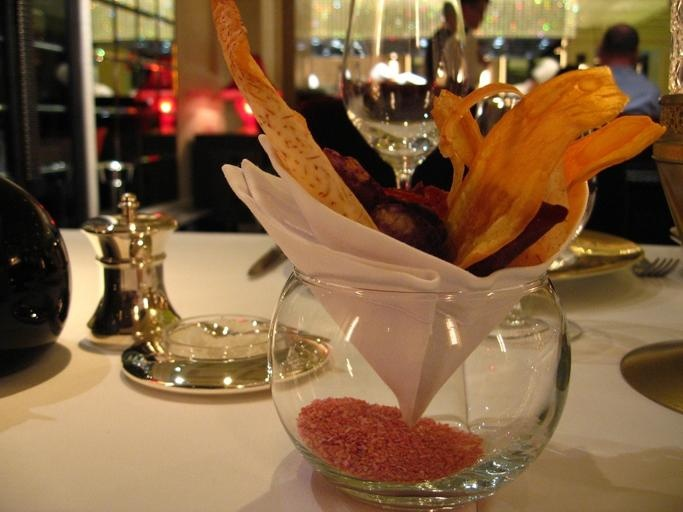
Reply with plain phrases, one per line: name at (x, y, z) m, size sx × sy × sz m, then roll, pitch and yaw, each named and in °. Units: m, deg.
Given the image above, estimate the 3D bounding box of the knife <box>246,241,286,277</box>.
knife at (-0.100, 0.007, 0.813) m, size 0.021 × 0.016 × 0.072 m, roll 25°, pitch 31°, yaw 9°

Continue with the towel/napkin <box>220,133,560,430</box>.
towel/napkin at (0.033, 0.030, 0.379) m, size 0.206 × 0.136 × 0.174 m, roll -2°, pitch 25°, yaw -39°
